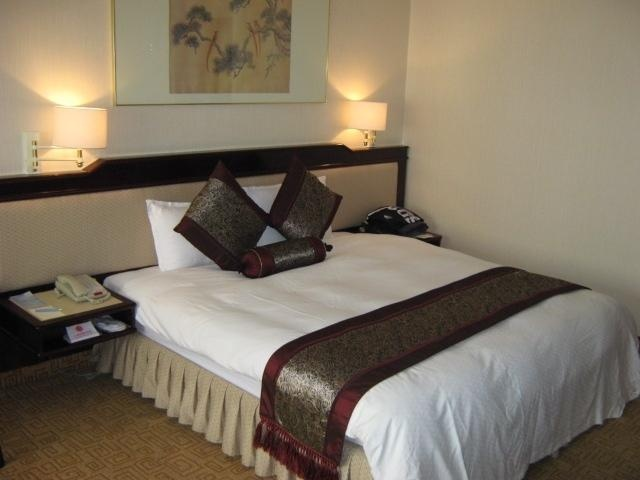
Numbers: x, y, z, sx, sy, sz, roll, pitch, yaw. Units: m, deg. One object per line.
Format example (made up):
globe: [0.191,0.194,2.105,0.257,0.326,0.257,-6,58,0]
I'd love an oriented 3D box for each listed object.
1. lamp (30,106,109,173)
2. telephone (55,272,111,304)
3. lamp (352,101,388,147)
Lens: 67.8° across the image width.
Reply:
lamp: [-1.705,-0.652,3.185,0.496,0.469,0.307,-7,14,-41]
telephone: [-1.569,0.314,3.140,0.273,0.108,0.202,17,20,36]
lamp: [0.494,-1.176,4.883,0.433,0.461,0.453,-3,15,-11]
